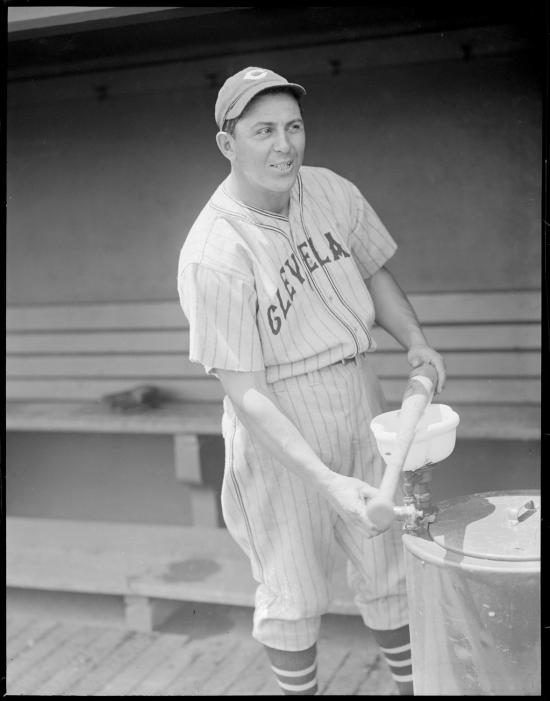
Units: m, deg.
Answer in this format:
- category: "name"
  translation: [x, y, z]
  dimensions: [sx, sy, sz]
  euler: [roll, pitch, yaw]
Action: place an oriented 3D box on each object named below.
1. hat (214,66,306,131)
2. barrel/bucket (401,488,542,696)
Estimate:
- category: "hat"
  translation: [-0.069, -0.583, 2.240]
  dimensions: [0.137, 0.091, 0.172]
  euler: [-9, -25, -37]
- category: "barrel/bucket"
  translation: [0.449, 0.572, 2.158]
  dimensions: [0.311, 0.448, 0.397]
  euler: [-2, 2, 6]
